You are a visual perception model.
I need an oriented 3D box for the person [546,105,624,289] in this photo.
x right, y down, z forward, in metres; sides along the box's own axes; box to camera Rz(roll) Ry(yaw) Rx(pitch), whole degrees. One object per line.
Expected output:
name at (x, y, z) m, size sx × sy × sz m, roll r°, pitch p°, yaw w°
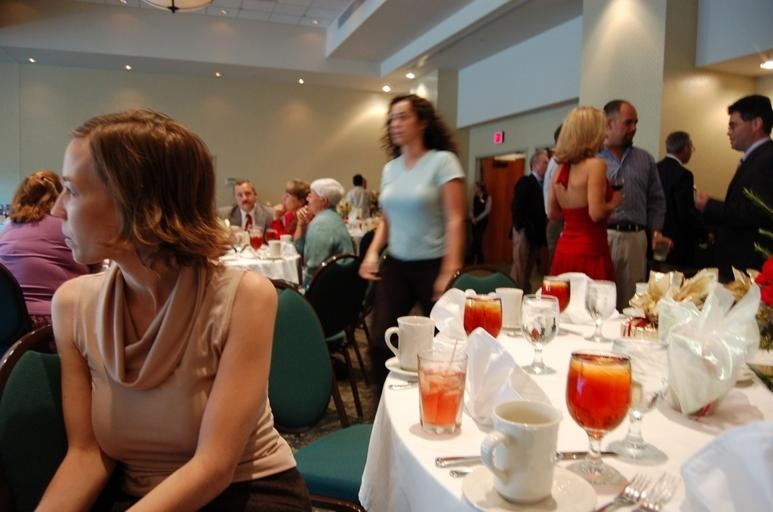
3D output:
person at (1.241, -0.365, 3.571) m, size 0.507 × 1.053 × 0.378 m, roll 3°, pitch 5°, yaw 40°

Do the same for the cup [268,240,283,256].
cup at (-0.915, -0.053, 4.570) m, size 0.100 × 0.134 × 0.103 m, roll 3°, pitch 5°, yaw 0°

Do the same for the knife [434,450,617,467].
knife at (0.385, 0.545, 1.549) m, size 0.503 × 0.026 × 0.035 m, roll -1°, pitch 4°, yaw -1°
